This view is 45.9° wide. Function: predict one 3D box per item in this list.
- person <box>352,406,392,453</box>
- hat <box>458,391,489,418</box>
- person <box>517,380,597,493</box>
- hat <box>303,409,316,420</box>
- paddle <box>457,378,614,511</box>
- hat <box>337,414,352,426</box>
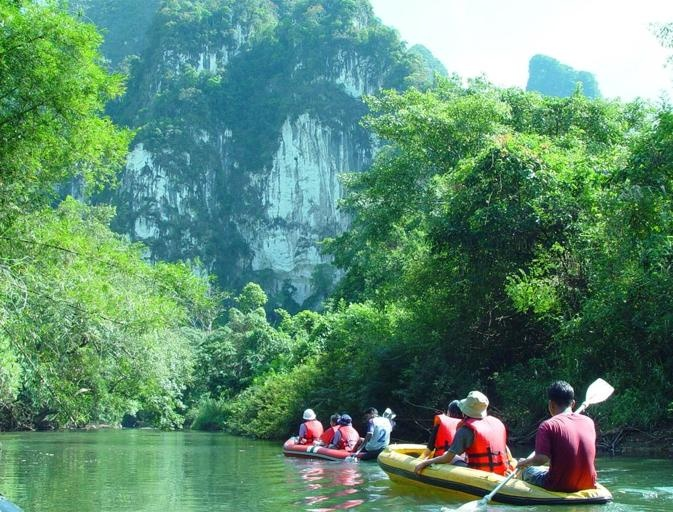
[{"bbox_3d":[1.036,4.379,19.948,1.011,1.371,0.940,7,-12,-23],"label":"person"},{"bbox_3d":[2.431,2.610,14.182,0.401,0.302,0.496,-14,40,-30],"label":"hat"},{"bbox_3d":[3.740,3.041,13.226,1.034,1.757,1.083,-3,-14,16],"label":"person"},{"bbox_3d":[-0.763,4.451,22.306,0.405,0.293,0.525,1,-5,-15],"label":"hat"},{"bbox_3d":[3.904,3.624,15.183,5.021,0.556,0.293,-32,-32,-35],"label":"paddle"},{"bbox_3d":[0.248,4.388,21.173,0.257,0.362,0.330,8,-21,-16],"label":"hat"}]
